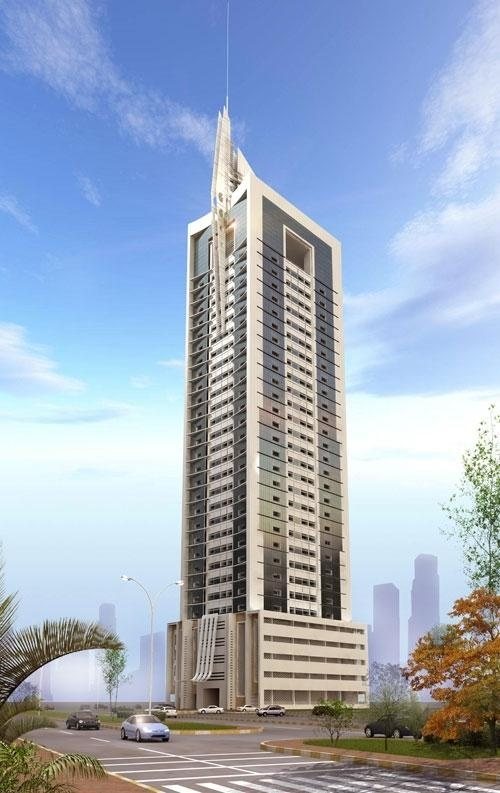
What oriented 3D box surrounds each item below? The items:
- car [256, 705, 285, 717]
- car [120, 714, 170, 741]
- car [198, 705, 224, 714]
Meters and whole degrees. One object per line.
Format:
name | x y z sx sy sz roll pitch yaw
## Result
car | 1.914 28.829 72.936 1.975 0.822 1.182 11 -62 1
car | -4.428 14.164 34.010 1.646 1.005 2.395 6 -19 -20
car | -3.813 31.010 78.908 2.682 0.819 1.149 4 -44 4
